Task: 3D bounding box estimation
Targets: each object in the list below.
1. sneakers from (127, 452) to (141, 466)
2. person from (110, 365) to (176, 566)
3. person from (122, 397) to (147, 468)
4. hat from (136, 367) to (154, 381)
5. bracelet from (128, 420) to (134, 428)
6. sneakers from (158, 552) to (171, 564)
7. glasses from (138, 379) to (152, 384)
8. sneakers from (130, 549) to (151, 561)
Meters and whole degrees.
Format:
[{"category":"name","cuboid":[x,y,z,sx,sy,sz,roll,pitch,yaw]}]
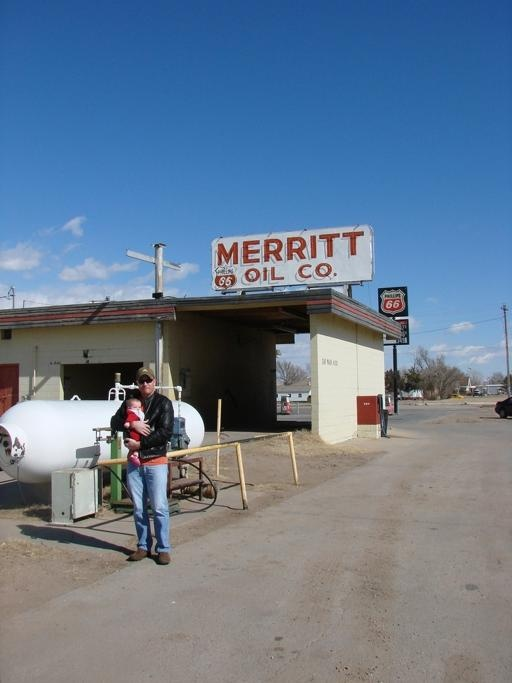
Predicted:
[{"category":"sneakers","cuboid":[-1.066,1.025,5.781,0.085,0.130,0.118,10,-12,-30]},{"category":"person","cuboid":[-0.984,1.083,5.915,0.493,1.697,0.563,-2,-3,-10]},{"category":"person","cuboid":[-1.029,0.838,5.870,0.243,0.747,0.223,0,17,-8]},{"category":"hat","cuboid":[-0.985,0.295,6.121,0.149,0.117,0.253,1,-4,-9]},{"category":"bracelet","cuboid":[-1.093,0.721,5.743,0.027,0.046,0.117,-1,-4,-26]},{"category":"sneakers","cuboid":[-0.804,1.864,5.745,0.122,0.099,0.219,-3,-4,-9]},{"category":"glasses","cuboid":[-1.018,0.353,6.077,0.077,0.060,0.129,-4,-2,-4]},{"category":"sneakers","cuboid":[-1.025,1.866,5.819,0.201,0.147,0.076,9,-19,-24]}]
